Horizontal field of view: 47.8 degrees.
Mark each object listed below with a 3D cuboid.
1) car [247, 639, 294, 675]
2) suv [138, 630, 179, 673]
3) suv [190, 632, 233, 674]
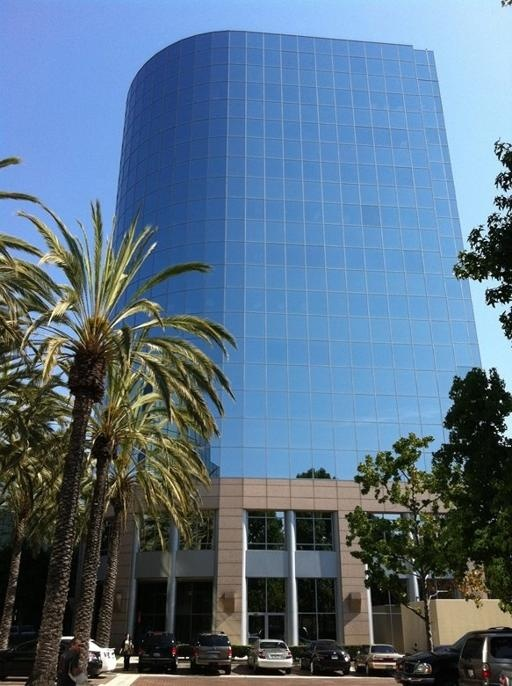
[{"bbox_3d":[0.681,16.150,29.557,1.642,1.533,2.927,4,-24,-9],"label":"car"},{"bbox_3d":[-4.795,15.156,28.094,1.759,1.855,1.979,3,-24,-8],"label":"suv"},{"bbox_3d":[-2.253,15.503,28.629,1.843,1.895,2.508,3,-24,-7],"label":"suv"}]
